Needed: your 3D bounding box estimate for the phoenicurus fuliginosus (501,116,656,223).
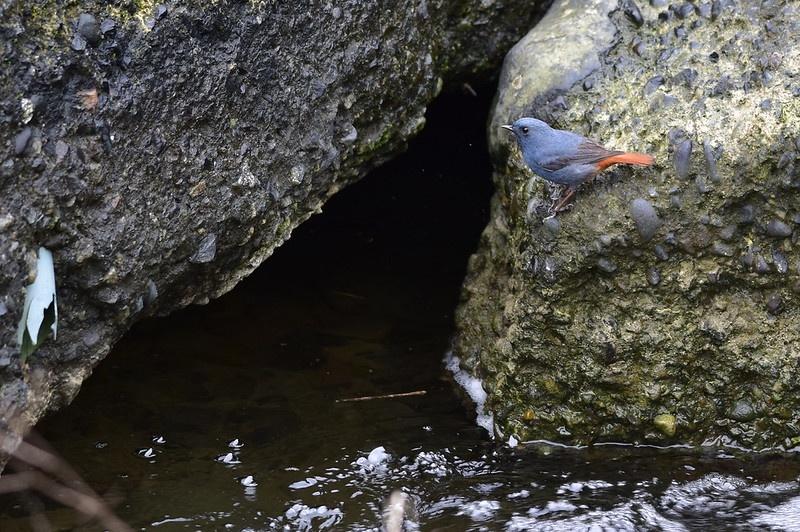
[{"bbox_3d":[1.048,-0.645,5.501,0.850,0.361,0.232,12,39,23],"label":"phoenicurus fuliginosus"}]
